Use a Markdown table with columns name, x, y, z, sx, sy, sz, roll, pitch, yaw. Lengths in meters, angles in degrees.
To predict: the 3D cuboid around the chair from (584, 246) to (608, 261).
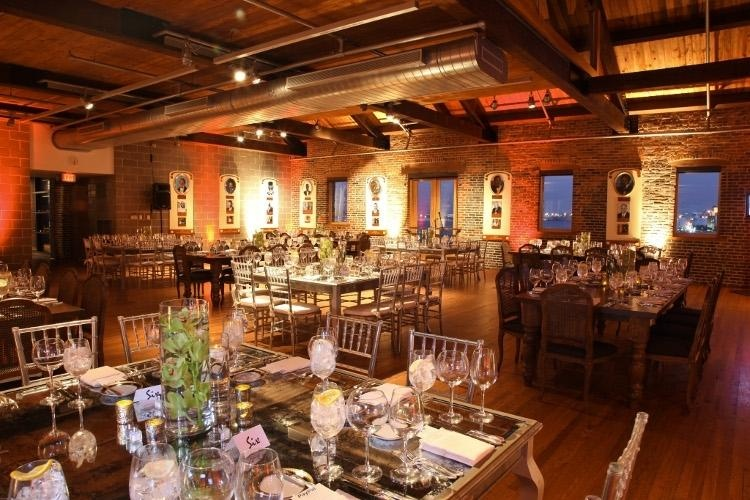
| name | x | y | z | sx | sy | sz | roll | pitch | yaw |
| --- | --- | --- | --- | --- | --- | --- | --- | --- | --- |
| chair | 4.257 | 0.060 | 9.675 | 0.349 | 0.470 | 0.314 | 3 | -6 | -41 |

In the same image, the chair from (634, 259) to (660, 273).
| name | x | y | z | sx | sy | sz | roll | pitch | yaw |
| --- | --- | --- | --- | --- | --- | --- | --- | --- | --- |
| chair | 3.868 | 0.227 | 7.134 | 0.243 | 0.199 | 0.227 | -1 | 2 | 12 |

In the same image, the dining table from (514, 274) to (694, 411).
| name | x | y | z | sx | sy | sz | roll | pitch | yaw |
| --- | --- | --- | --- | --- | --- | --- | --- | --- | --- |
| dining table | 2.506 | 0.728 | 5.568 | 1.322 | 0.811 | 2.004 | 3 | 6 | 40 |

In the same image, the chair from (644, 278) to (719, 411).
| name | x | y | z | sx | sy | sz | roll | pitch | yaw |
| --- | --- | --- | --- | --- | --- | --- | --- | --- | --- |
| chair | 3.475 | 1.109 | 5.703 | 0.525 | 0.931 | 1.363 | 5 | 9 | 41 |

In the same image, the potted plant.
| name | x | y | z | sx | sy | sz | roll | pitch | yaw |
| --- | --- | --- | --- | --- | --- | --- | --- | --- | --- |
| potted plant | -1.101 | 0.689 | 2.933 | 0.282 | 0.749 | 0.247 | -4 | 15 | -18 |

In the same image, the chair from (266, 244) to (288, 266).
| name | x | y | z | sx | sy | sz | roll | pitch | yaw |
| --- | --- | --- | --- | --- | --- | --- | --- | --- | --- |
| chair | -1.710 | 0.095 | 8.742 | 0.388 | 0.473 | 0.392 | 1 | 7 | -2 |

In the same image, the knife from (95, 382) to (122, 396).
| name | x | y | z | sx | sy | sz | roll | pitch | yaw |
| --- | --- | --- | --- | --- | --- | --- | --- | --- | --- |
| knife | -1.789 | 0.927 | 3.364 | 0.077 | 0.016 | 0.076 | 13 | 16 | 17 |

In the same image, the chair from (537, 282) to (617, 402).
| name | x | y | z | sx | sy | sz | roll | pitch | yaw |
| --- | --- | --- | --- | --- | --- | --- | --- | --- | --- |
| chair | 2.106 | 0.918 | 5.218 | 0.769 | 1.235 | 0.372 | 4 | 14 | 16 |
